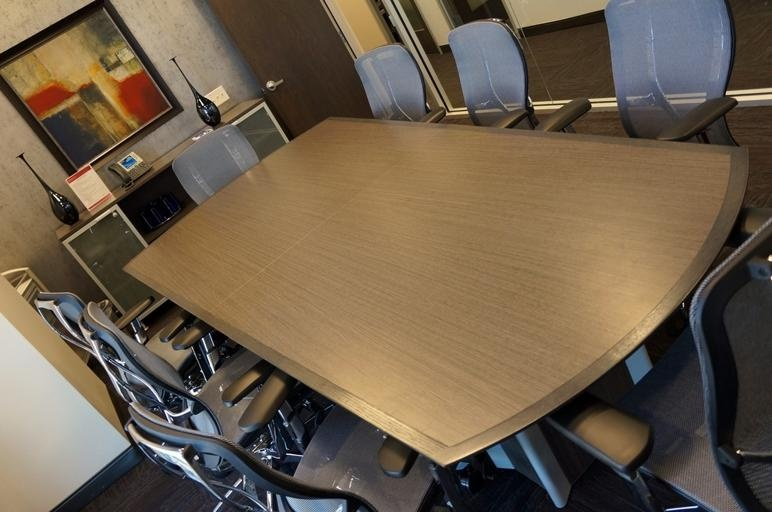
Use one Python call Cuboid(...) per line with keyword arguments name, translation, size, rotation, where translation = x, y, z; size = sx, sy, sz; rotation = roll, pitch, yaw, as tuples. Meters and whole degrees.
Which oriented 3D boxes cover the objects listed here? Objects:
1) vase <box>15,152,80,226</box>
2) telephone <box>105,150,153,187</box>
Cuboid(name="vase", translation=(-2.884, -0.561, 4.346), size=(0.161, 0.622, 0.458), rotation=(-40, 37, -25))
Cuboid(name="telephone", translation=(-2.333, -0.781, 4.663), size=(0.315, 0.135, 0.342), rotation=(42, 76, 10))
